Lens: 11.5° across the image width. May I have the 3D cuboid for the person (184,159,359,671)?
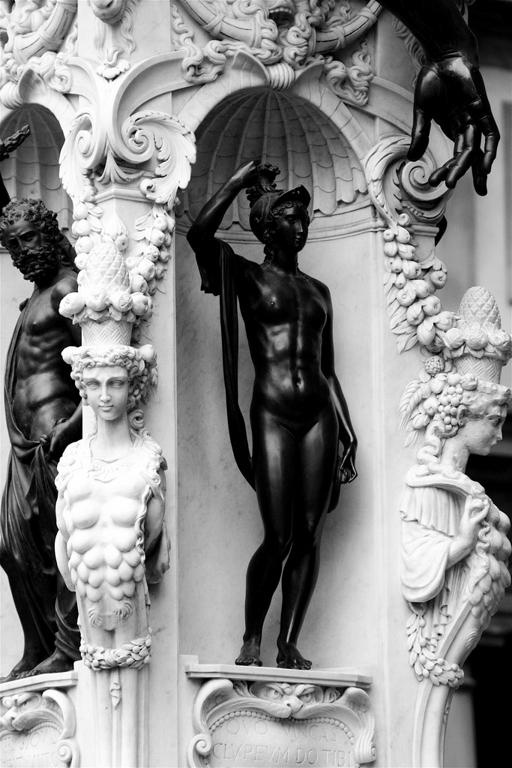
[{"bbox_3d":[0.108,0.153,11.236,0.432,2.210,1.040,-7,-12,28],"label":"person"}]

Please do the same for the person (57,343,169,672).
[{"bbox_3d":[-0.602,0.510,10.599,0.471,1.351,0.357,-1,-11,-4],"label":"person"}]

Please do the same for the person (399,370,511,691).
[{"bbox_3d":[0.943,0.604,11.402,0.533,1.488,0.264,1,-11,-16],"label":"person"}]
